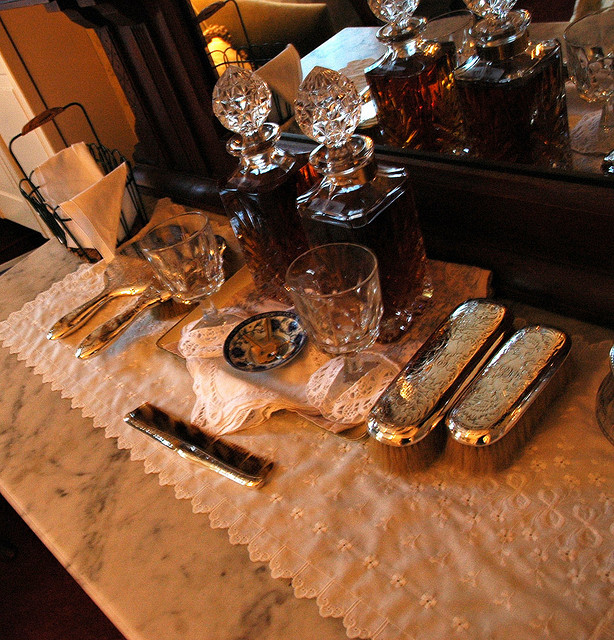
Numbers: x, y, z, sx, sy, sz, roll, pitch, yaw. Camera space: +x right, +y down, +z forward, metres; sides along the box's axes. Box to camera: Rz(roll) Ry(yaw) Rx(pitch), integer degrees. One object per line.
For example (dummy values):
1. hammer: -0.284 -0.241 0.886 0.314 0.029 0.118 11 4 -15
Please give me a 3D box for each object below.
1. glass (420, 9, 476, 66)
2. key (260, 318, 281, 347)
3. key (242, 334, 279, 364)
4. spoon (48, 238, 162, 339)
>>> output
1. glass: 0.120 -0.239 0.463 0.039 0.039 0.041 -9 28 9
2. key: -0.037 0.013 0.536 0.029 0.006 0.028 -25 48 21
3. key: -0.050 0.026 0.507 0.021 0.004 0.026 -30 48 -24
4. spoon: -0.232 -0.039 0.741 0.099 0.015 0.208 28 52 28
